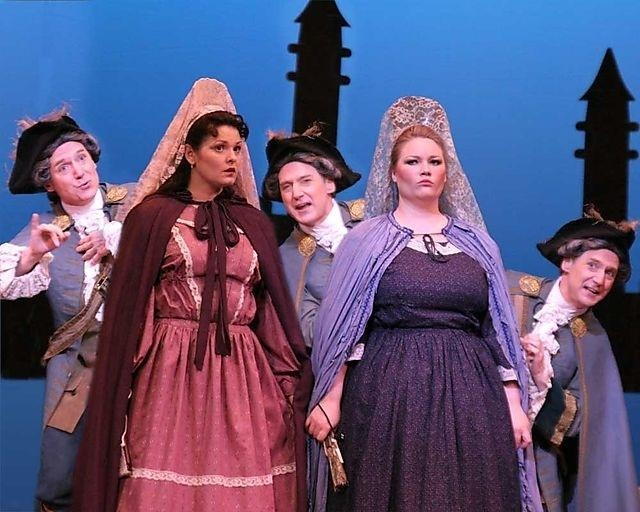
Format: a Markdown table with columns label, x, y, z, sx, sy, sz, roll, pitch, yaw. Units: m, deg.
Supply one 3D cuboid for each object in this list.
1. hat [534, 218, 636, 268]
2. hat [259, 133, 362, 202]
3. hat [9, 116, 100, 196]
| label | x | y | z | sx | sy | sz | roll | pitch | yaw |
| --- | --- | --- | --- | --- | --- | --- | --- | --- | --- |
| hat | 1.420 | -0.098 | 4.007 | 0.309 | 0.098 | 0.336 | -7 | -13 | 23 |
| hat | -0.078 | -0.507 | 3.834 | 0.308 | 0.196 | 0.445 | -7 | -32 | 0 |
| hat | -1.415 | -0.489 | 3.904 | 0.408 | 0.128 | 0.314 | -44 | -7 | -20 |
